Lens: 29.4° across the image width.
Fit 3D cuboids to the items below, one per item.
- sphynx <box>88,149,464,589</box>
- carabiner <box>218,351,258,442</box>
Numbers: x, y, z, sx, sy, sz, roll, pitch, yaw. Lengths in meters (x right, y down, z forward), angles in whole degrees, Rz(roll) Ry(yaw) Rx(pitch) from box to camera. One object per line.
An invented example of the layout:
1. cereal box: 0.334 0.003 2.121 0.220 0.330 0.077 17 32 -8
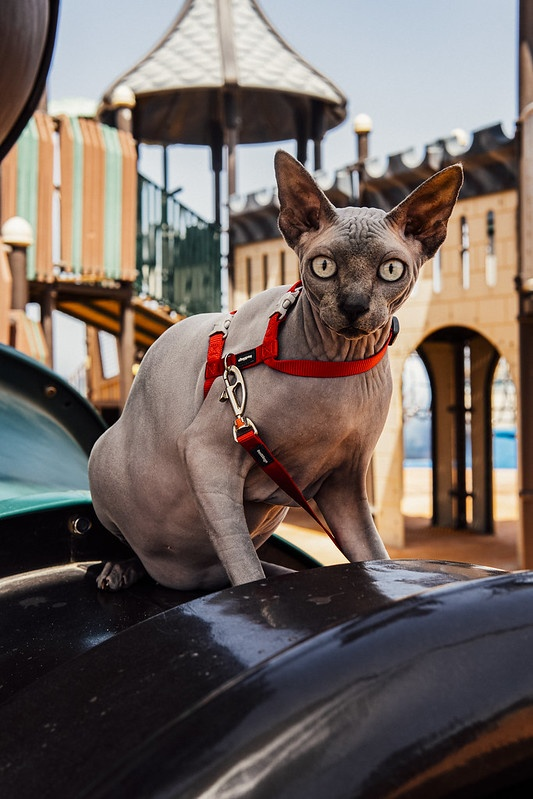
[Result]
1. sphynx: -0.021 -0.015 1.498 0.303 0.671 0.533 -5 17 -43
2. carabiner: -0.038 -0.003 1.331 0.039 0.113 0.015 -27 -29 37
